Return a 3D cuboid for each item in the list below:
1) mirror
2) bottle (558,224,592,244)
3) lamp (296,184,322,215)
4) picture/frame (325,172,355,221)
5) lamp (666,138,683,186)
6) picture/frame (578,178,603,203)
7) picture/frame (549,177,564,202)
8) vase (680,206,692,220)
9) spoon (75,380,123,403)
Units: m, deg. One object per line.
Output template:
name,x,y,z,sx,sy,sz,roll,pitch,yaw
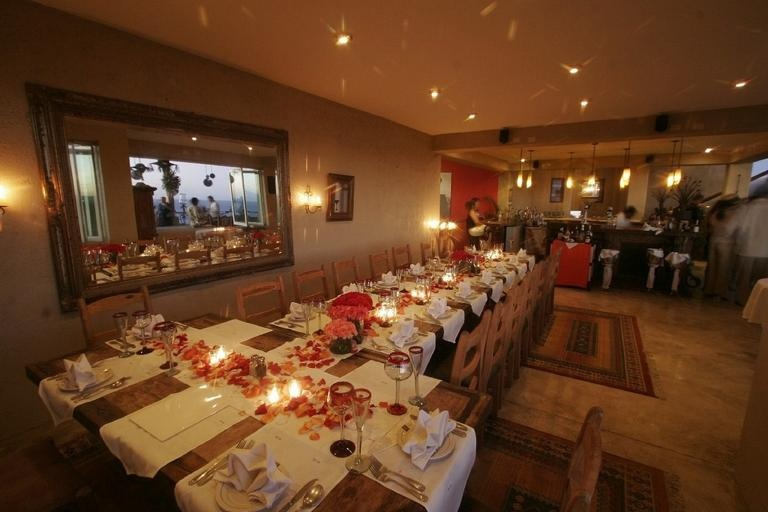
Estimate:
mirror,-2.571,-0.675,5.329,2.584,2.128,0.105,-11,16,-35
bottle,3.624,-0.422,9.097,0.443,0.279,0.447,-1,6,0
lamp,-1.041,-0.782,6.752,0.086,0.379,0.452,6,12,31
picture/frame,-0.682,-0.894,7.144,0.050,0.720,0.703,5,7,29
lamp,6.121,-1.902,10.100,0.228,0.885,3.343,6,11,30
picture/frame,5.003,-1.531,11.511,0.339,0.702,4.924,5,10,25
picture/frame,5.130,-1.952,14.269,0.428,0.730,0.091,7,13,36
vase,5.558,-0.795,8.837,0.166,0.228,0.338,7,12,34
spoon,-2.379,1.120,3.982,0.068,0.070,0.393,25,24,32
